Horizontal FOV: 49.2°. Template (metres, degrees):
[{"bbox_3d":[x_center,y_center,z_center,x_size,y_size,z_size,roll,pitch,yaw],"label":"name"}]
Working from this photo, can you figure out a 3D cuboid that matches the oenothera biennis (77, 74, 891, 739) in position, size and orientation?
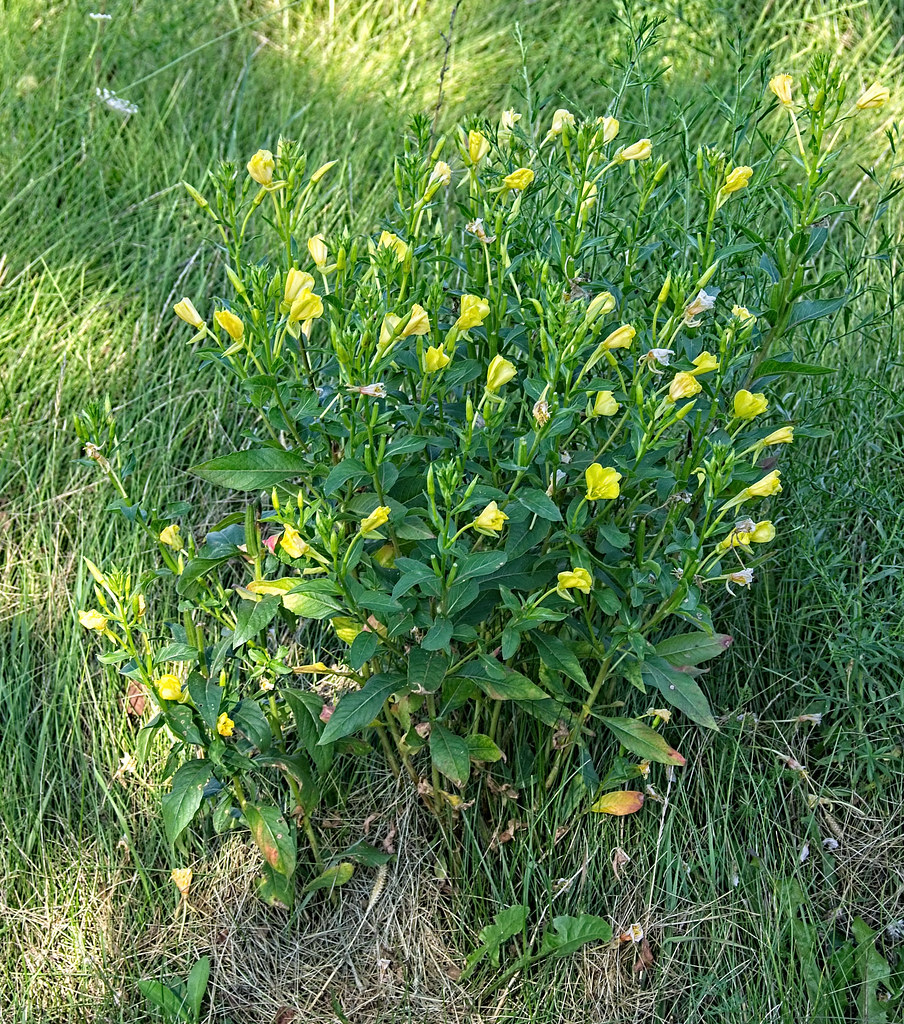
[{"bbox_3d":[0.063,-0.158,1.940,1.038,1.164,1.066,16,49,-16],"label":"oenothera biennis"}]
